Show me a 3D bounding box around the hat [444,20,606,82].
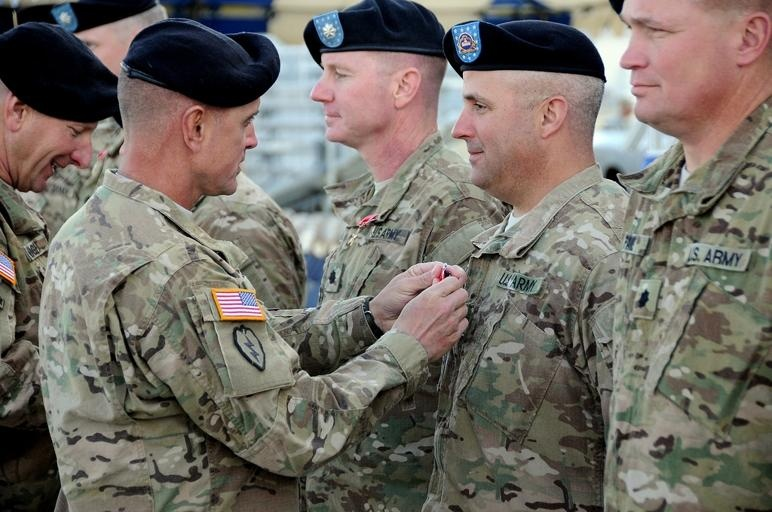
[{"bbox_3d":[0.619,-0.948,4.444,0.440,0.151,0.368,4,-1,-1],"label":"hat"}]

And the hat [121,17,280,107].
[{"bbox_3d":[-0.784,-0.829,4.151,0.515,0.208,0.443,3,15,-31],"label":"hat"}]
